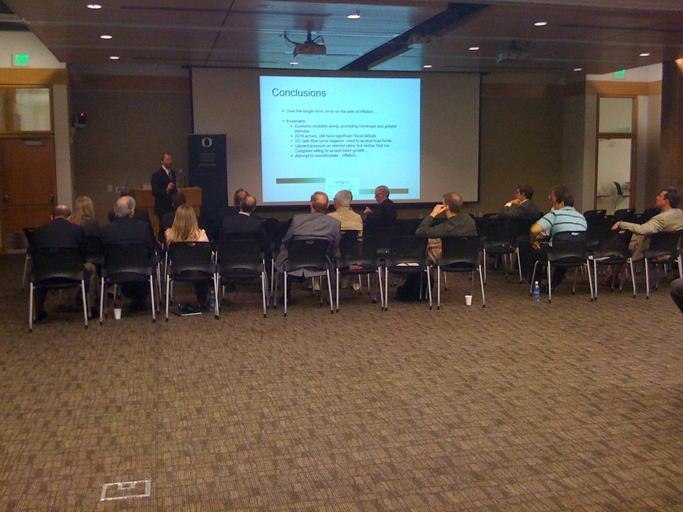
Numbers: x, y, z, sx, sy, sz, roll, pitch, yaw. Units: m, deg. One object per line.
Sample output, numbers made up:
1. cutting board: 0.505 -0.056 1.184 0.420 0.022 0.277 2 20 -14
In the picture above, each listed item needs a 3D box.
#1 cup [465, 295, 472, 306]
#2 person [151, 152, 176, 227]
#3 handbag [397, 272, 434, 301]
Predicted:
1. cup: 1.582 0.556 7.245 0.101 0.110 0.103 0 0 0
2. person: -3.055 -0.949 10.120 0.459 1.562 0.492 5 19 -1
3. handbag: 0.950 0.439 7.631 0.309 0.444 0.460 1 -5 -10
